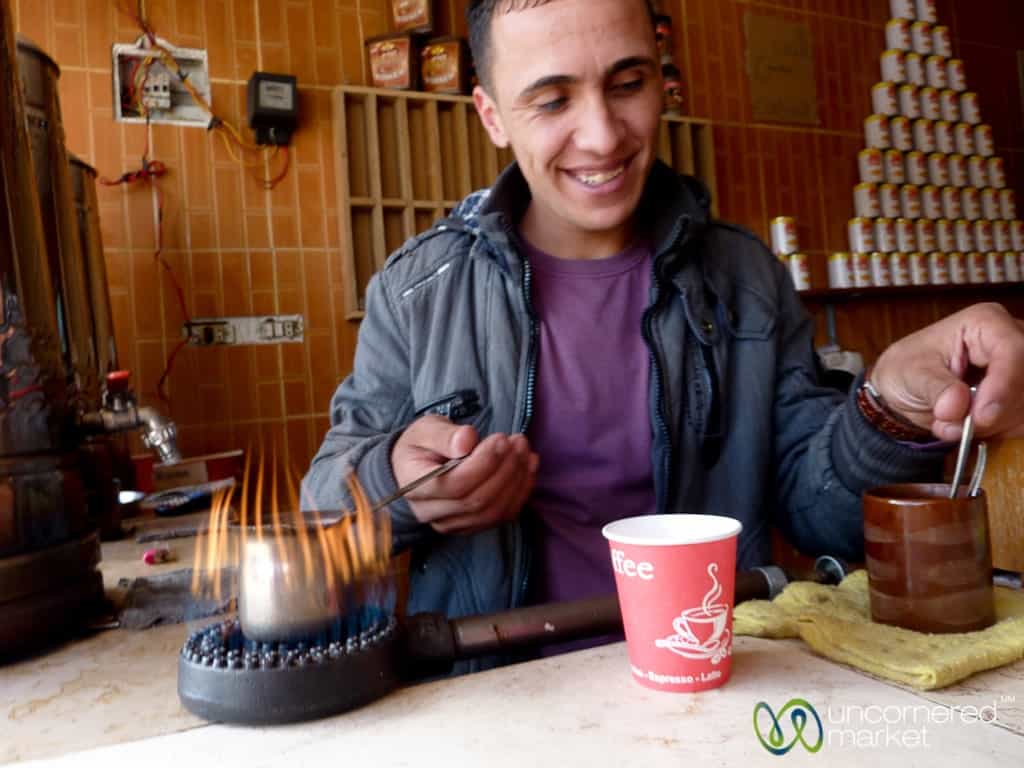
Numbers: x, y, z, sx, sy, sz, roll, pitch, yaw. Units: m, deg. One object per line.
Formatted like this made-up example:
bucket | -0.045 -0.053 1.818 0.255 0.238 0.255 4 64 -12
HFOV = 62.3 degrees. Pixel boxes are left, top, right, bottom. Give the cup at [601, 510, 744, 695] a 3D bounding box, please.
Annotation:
cup | 0.212 0.287 1.188 0.188 0.218 0.206 -3 -1 0
